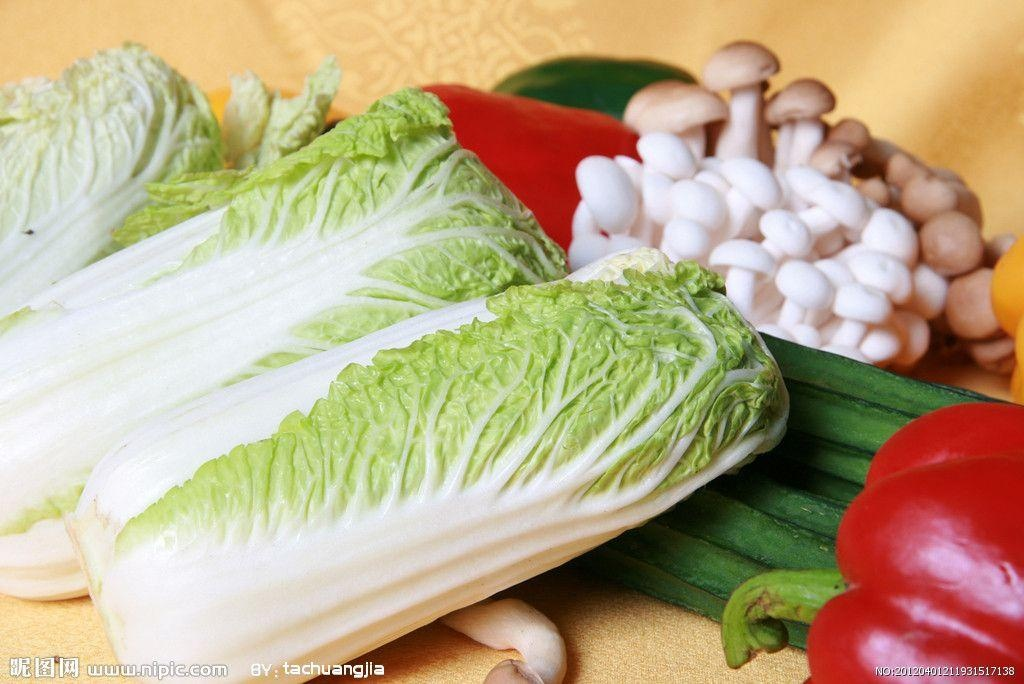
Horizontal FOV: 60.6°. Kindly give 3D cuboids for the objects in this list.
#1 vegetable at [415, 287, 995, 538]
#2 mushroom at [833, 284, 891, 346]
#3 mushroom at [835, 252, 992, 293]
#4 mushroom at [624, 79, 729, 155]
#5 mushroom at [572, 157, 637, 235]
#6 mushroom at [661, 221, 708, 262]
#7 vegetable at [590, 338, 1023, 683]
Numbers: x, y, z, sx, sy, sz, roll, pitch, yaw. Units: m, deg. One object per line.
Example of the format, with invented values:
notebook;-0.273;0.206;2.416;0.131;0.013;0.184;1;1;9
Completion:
vegetable;0.457;0.260;1.842;0.929;0.238;0.589;-15;53;-9
mushroom;0.949;-0.077;2.387;0.118;0.064;0.120;22;13;41
mushroom;1.138;-0.207;2.468;0.210;0.214;0.072;7;87;2
mushroom;0.513;-0.725;2.763;0.272;0.153;0.272;-12;23;-18
mushroom;0.276;-0.411;2.520;0.171;0.177;0.166;-4;46;-7
mushroom;0.474;-0.298;2.453;0.121;0.115;0.071;25;89;54
vegetable;0.589;0.381;2.013;0.803;0.243;0.491;-24;60;-12
